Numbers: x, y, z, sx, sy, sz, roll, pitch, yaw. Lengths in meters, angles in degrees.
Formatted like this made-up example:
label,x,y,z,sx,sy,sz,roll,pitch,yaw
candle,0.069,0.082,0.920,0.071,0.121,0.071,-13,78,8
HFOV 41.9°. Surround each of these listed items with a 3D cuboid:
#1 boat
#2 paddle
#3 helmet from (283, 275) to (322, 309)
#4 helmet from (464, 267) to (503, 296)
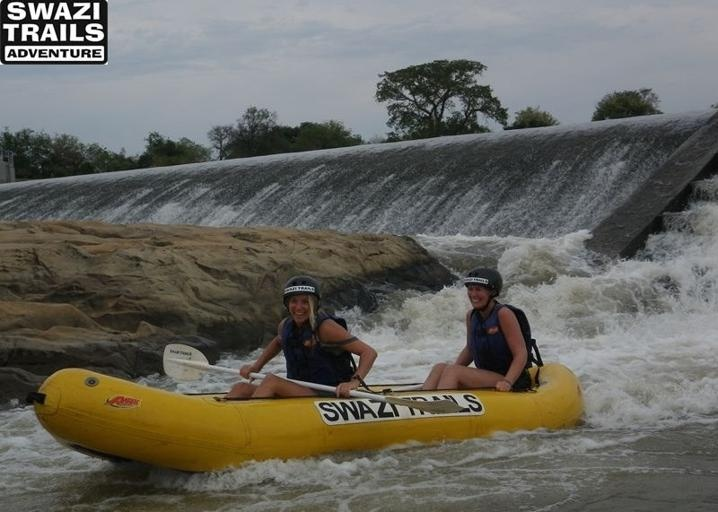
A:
label,x,y,z,sx,sy,sz,roll,pitch,yaw
boat,-0.451,1.678,9.886,5.721,0.810,1.705,2,-8,-17
paddle,-0.559,1.350,10.292,2.353,0.192,0.354,10,-31,6
helmet,-0.598,0.368,9.736,0.290,0.227,0.350,-1,-27,4
helmet,1.330,0.275,10.437,0.402,0.268,0.311,-2,9,-36
